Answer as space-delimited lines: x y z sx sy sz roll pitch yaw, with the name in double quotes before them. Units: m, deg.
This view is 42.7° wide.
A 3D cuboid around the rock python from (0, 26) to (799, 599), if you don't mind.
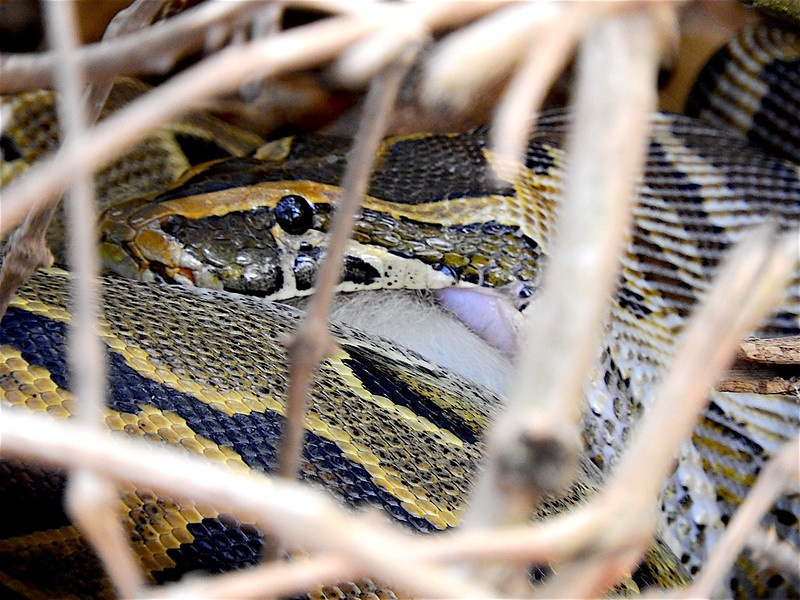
"rock python" 0.010 -0.067 2.183 1.567 0.322 1.071 4 22 15
